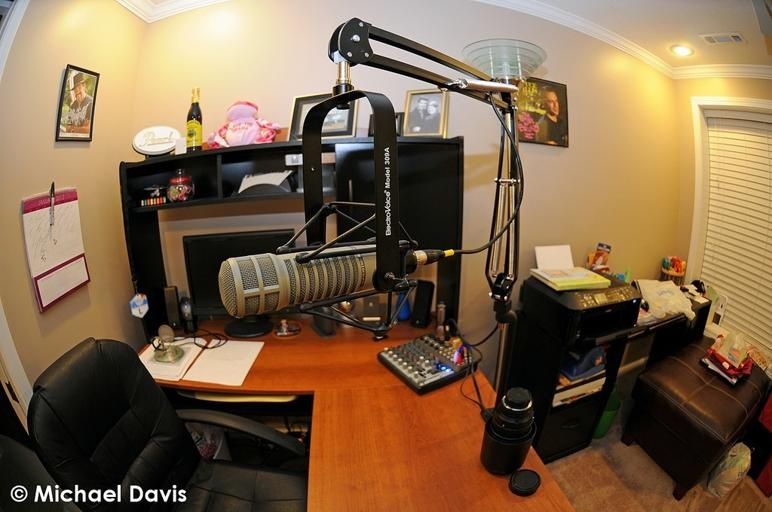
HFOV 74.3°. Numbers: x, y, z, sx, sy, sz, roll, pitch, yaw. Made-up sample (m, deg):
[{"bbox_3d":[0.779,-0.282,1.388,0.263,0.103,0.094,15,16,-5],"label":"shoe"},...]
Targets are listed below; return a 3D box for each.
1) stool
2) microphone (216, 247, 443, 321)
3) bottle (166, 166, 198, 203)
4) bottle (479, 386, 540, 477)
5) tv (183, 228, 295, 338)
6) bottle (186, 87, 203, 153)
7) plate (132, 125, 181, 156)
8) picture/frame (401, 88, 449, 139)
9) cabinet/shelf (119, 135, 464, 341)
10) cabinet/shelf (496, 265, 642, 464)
[{"bbox_3d":[1.686,0.921,2.834,0.312,0.777,0.571,-10,18,-25],"label":"stool"},{"bbox_3d":[-0.248,0.103,1.999,0.726,0.239,0.241,-15,-12,-13],"label":"microphone"},{"bbox_3d":[-1.145,-0.388,2.855,0.139,0.192,0.141,-6,3,0],"label":"bottle"},{"bbox_3d":[0.544,0.781,2.294,0.230,0.404,0.226,4,26,-2],"label":"bottle"},{"bbox_3d":[-0.727,0.132,2.481,0.557,0.545,0.308,-2,15,-7],"label":"tv"},{"bbox_3d":[-1.081,-0.757,2.838,0.095,0.327,0.225,-6,17,-13],"label":"bottle"},{"bbox_3d":[-1.269,-0.637,2.828,0.242,0.150,0.153,-9,17,-21],"label":"plate"},{"bbox_3d":[0.219,-0.777,2.806,0.320,0.351,0.070,0,-6,9],"label":"picture/frame"},{"bbox_3d":[-0.479,-0.101,2.581,1.180,0.870,0.229,-2,-2,-5],"label":"cabinet/shelf"},{"bbox_3d":[1.043,0.646,3.074,0.607,1.083,0.618,-11,26,-42],"label":"cabinet/shelf"}]
